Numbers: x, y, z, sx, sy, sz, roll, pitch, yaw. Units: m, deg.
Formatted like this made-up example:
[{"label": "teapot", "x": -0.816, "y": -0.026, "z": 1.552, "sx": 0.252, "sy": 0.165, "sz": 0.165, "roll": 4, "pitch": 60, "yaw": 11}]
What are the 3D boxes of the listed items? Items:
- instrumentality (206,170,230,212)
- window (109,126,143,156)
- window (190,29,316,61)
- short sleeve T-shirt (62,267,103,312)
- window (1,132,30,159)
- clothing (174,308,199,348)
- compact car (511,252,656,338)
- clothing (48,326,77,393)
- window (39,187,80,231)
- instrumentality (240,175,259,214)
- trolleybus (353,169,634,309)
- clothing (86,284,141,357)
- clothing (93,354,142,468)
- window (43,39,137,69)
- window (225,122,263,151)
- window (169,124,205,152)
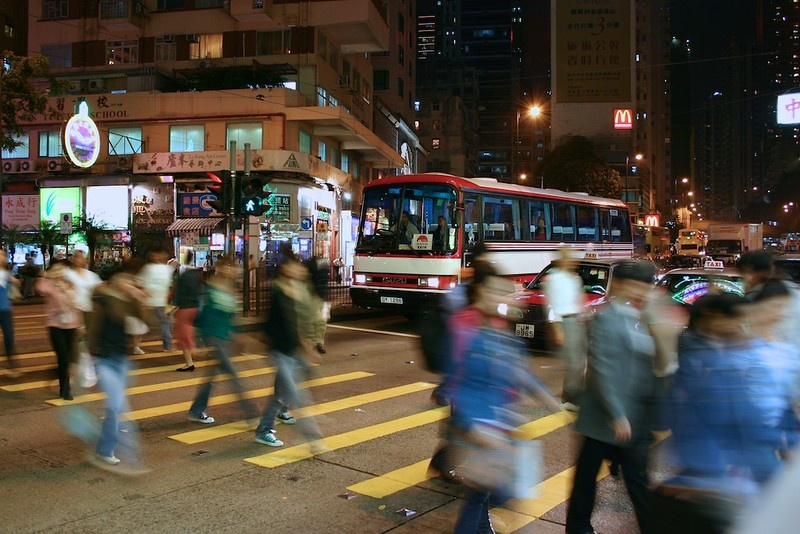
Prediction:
[{"label": "instrumentality", "x": -4.470, "y": -1.852, "z": 17.098, "sx": 0.615, "sy": 1.159, "sz": 0.450, "roll": 2, "pitch": -14, "yaw": -33}, {"label": "window", "x": -14.423, "y": -6.676, "z": 36.906, "sx": 1.846, "sy": 1.321, "sz": 0.035, "roll": 2, "pitch": -1, "yaw": 16}, {"label": "window", "x": -8.471, "y": -12.953, "z": 40.215, "sx": 8.088, "sy": 1.722, "sz": 0.689, "roll": 5, "pitch": 9, "yaw": 19}, {"label": "short sleeve T-shirt", "x": -4.665, "y": 0.352, "z": 10.189, "sx": 0.231, "sy": 0.586, "sz": 0.617, "roll": -5, "pitch": -6, "yaw": 25}, {"label": "window", "x": -21.039, "y": -6.762, "z": 38.336, "sx": 1.711, "sy": 1.405, "sz": 0.463, "roll": 7, "pitch": 10, "yaw": 29}, {"label": "clothing", "x": -3.502, "y": 1.058, "z": 11.406, "sx": 0.307, "sy": 0.813, "sz": 0.382, "roll": -1, "pitch": -20, "yaw": -15}, {"label": "compact car", "x": 4.230, "y": 0.854, "z": 15.664, "sx": 4.394, "sy": 2.108, "sz": 2.490, "roll": 1, "pitch": 1, "yaw": -44}, {"label": "clothing", "x": -5.031, "y": 1.467, "z": 10.493, "sx": 0.327, "sy": 1.033, "sz": 0.231, "roll": 13, "pitch": 20, "yaw": 12}, {"label": "window", "x": -18.358, "y": -3.263, "z": 37.306, "sx": 0.805, "sy": 2.164, "sz": 2.331, "roll": 9, "pitch": 11, "yaw": 29}, {"label": "instrumentality", "x": -3.632, "y": -1.795, "z": 17.173, "sx": 0.348, "sy": 0.924, "sz": 0.326, "roll": 0, "pitch": 7, "yaw": -18}, {"label": "trolleybus", "x": 3.834, "y": -0.768, "z": 22.521, "sx": 3.512, "sy": 3.943, "sz": 12.672, "roll": 2, "pitch": 3, "yaw": 38}, {"label": "clothing", "x": -3.425, "y": 0.672, "z": 8.267, "sx": 0.635, "sy": 0.804, "sz": 0.348, "roll": 4, "pitch": 9, "yaw": 10}, {"label": "clothing", "x": -3.518, "y": 1.716, "z": 8.330, "sx": 0.408, "sy": 1.291, "sz": 0.482, "roll": -4, "pitch": -8, "yaw": -18}, {"label": "window", "x": -18.996, "y": -13.210, "z": 42.920, "sx": 6.222, "sy": 1.660, "sz": 0.694, "roll": 4, "pitch": 9, "yaw": 12}, {"label": "window", "x": -7.931, "y": -6.754, "z": 35.544, "sx": 2.103, "sy": 1.323, "sz": 0.653, "roll": 5, "pitch": 9, "yaw": 20}, {"label": "window", "x": -10.974, "y": -6.763, "z": 36.236, "sx": 1.778, "sy": 1.648, "sz": 0.239, "roll": -1, "pitch": -3, "yaw": 6}]
